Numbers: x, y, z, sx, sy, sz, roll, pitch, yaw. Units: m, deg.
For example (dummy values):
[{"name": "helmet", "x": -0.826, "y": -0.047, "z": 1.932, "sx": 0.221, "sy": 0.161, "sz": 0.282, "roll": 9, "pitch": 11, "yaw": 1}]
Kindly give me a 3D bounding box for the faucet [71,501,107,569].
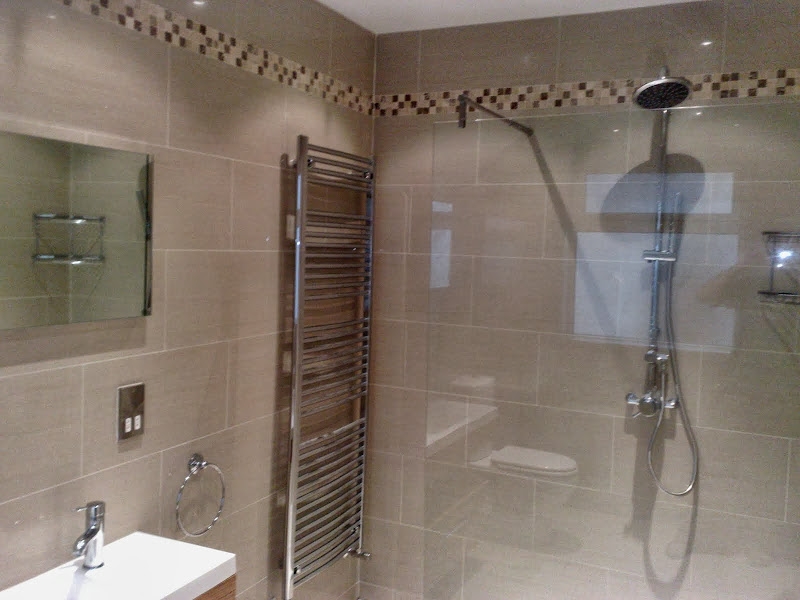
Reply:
[{"name": "faucet", "x": -0.978, "y": 0.732, "z": 1.930, "sx": 0.067, "sy": 0.191, "sz": 0.095, "roll": -11, "pitch": -14, "yaw": 42}]
